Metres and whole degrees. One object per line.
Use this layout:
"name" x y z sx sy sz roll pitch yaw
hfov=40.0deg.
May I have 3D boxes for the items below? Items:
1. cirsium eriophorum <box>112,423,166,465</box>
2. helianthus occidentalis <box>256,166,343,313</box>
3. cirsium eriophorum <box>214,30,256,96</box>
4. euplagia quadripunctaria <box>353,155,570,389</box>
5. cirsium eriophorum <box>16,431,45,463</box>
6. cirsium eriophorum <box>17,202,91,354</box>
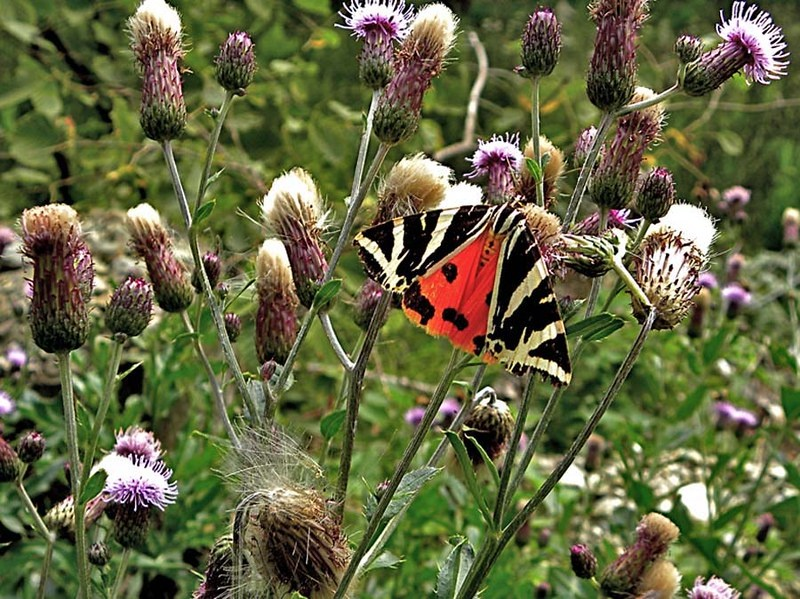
"cirsium eriophorum" -1.194 0.653 5.031 0.172 0.194 0.193 16 86 -9
"helianthus occidentalis" -0.433 -0.254 4.914 0.317 0.291 0.601 -7 79 -60
"cirsium eriophorum" -0.745 -1.052 4.959 0.180 0.209 0.349 -3 58 -10
"euplagia quadripunctaria" 0.328 -0.058 4.554 0.932 0.274 0.713 31 91 16
"cirsium eriophorum" -1.692 0.679 5.085 0.118 0.129 0.106 56 24 14
"cirsium eriophorum" -1.465 -0.093 4.677 0.262 0.388 0.499 -8 58 -13
